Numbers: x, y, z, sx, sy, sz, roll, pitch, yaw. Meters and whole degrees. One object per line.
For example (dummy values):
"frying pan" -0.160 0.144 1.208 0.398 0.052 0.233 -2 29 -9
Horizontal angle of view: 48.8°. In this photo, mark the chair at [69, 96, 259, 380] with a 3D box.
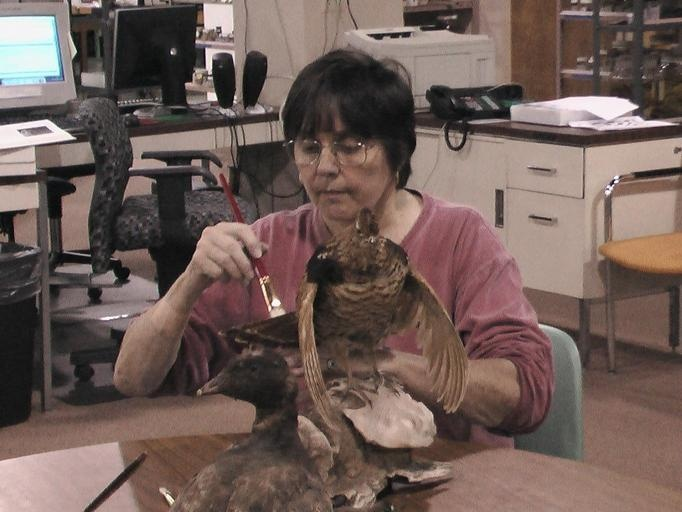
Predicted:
"chair" -0.750 -0.263 3.344 0.672 1.346 0.757 -13 25 -33

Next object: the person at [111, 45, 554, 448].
"person" -0.045 -0.027 1.490 0.746 1.063 0.659 -1 -2 19

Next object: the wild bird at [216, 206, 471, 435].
"wild bird" 0.014 0.089 1.144 0.242 0.270 0.299 -6 -4 -20

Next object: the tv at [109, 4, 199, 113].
"tv" -0.980 -1.101 3.998 0.327 0.563 0.184 11 26 10
